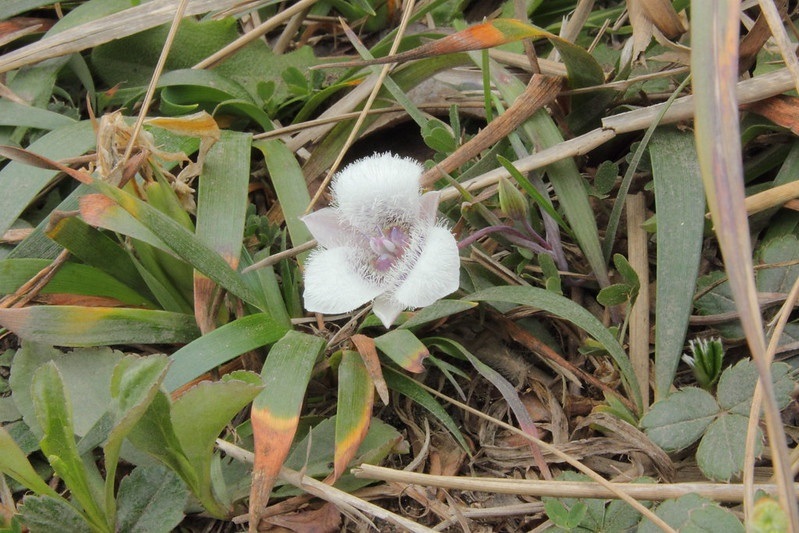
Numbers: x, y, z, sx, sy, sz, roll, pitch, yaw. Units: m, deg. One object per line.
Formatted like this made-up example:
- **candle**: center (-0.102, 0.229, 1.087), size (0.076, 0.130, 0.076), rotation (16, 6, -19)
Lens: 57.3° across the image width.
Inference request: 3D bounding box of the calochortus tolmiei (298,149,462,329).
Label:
- **calochortus tolmiei**: center (-0.037, -0.055, 2.011), size (0.461, 0.184, 0.434), rotation (20, 77, 24)
